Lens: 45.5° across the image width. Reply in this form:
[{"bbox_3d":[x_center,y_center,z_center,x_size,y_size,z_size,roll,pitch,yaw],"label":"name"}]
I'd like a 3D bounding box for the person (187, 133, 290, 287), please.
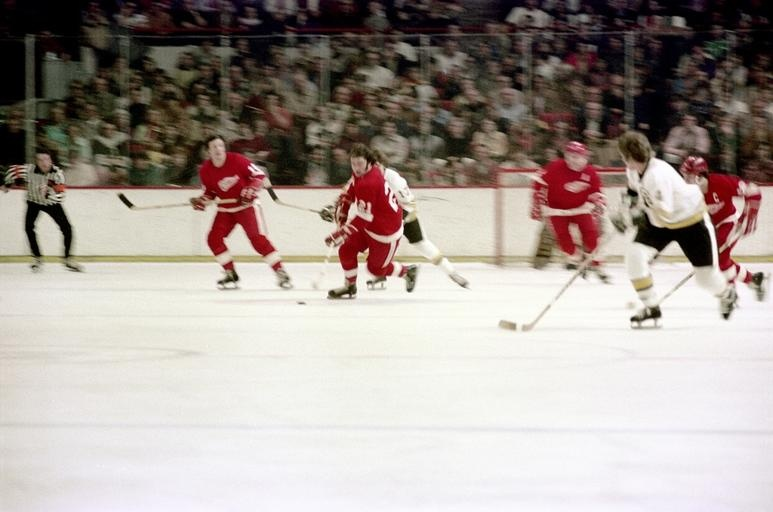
[{"bbox_3d":[-1.561,-0.467,9.612,0.911,1.571,0.503,-2,11,-11],"label":"person"}]

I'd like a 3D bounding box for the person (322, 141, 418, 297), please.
[{"bbox_3d":[-0.171,-0.351,8.947,0.651,1.500,0.856,9,14,37],"label":"person"}]

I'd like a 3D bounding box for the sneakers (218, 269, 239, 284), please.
[{"bbox_3d":[-1.666,0.225,9.630,0.204,0.182,0.240,-1,10,-7],"label":"sneakers"}]

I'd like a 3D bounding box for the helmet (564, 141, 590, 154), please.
[{"bbox_3d":[2.117,-1.207,10.284,0.216,0.129,0.200,1,10,2],"label":"helmet"}]

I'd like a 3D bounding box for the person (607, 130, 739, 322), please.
[{"bbox_3d":[2.272,-0.195,7.250,0.914,1.530,0.383,4,12,16],"label":"person"}]

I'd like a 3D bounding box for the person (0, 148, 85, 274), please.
[{"bbox_3d":[-4.125,-0.540,11.065,0.558,1.423,0.861,-10,15,-42],"label":"person"}]
